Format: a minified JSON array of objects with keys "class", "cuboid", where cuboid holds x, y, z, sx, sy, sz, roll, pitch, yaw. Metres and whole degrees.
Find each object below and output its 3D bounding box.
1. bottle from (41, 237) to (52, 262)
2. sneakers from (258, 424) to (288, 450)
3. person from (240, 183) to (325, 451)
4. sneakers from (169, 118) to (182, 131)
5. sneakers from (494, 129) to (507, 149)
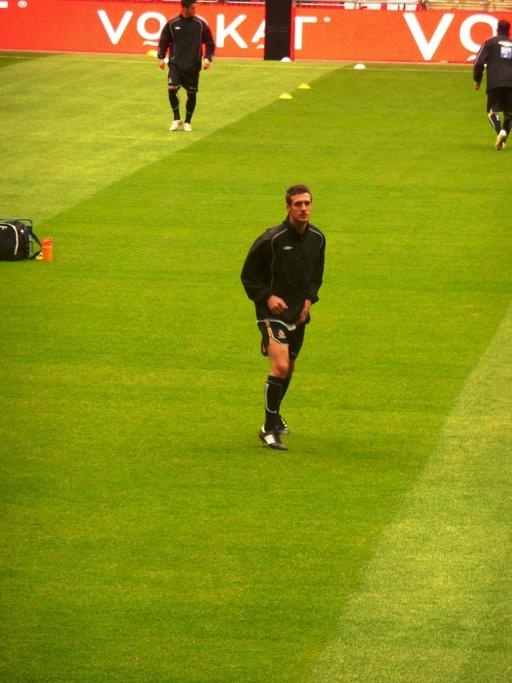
[{"class":"bottle","cuboid":[-2.474,-1.084,10.414,0.135,0.268,0.394,-3,15,-14]},{"class":"sneakers","cuboid":[0.106,0.622,5.690,0.082,0.108,0.232,-2,6,-35]},{"class":"person","cuboid":[0.164,-0.147,5.547,0.517,1.665,0.400,1,15,-1]},{"class":"sneakers","cuboid":[-1.641,-4.375,18.009,0.131,0.182,0.393,4,21,6]},{"class":"sneakers","cuboid":[4.538,-3.654,16.255,0.139,0.383,0.176,8,42,9]}]
